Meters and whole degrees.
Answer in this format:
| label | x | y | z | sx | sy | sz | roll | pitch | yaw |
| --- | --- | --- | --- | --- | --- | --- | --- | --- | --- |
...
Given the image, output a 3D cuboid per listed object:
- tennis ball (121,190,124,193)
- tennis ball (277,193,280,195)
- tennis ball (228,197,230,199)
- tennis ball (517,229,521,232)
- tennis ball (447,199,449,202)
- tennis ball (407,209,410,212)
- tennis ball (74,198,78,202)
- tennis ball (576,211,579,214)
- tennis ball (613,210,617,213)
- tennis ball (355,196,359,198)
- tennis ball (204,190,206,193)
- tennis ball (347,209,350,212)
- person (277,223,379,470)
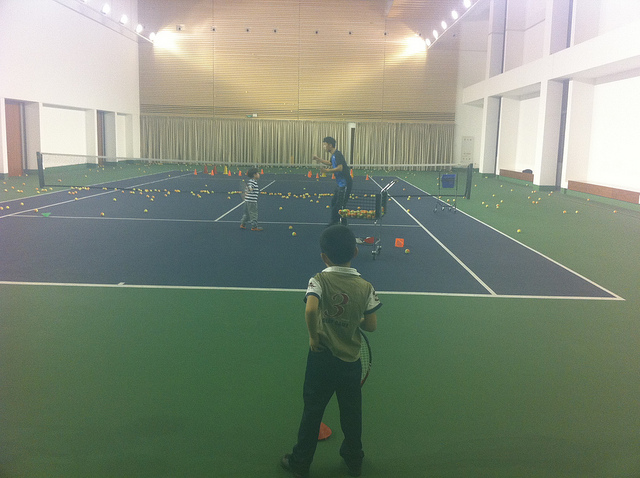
| label | x | y | z | sx | sy | sz | roll | pitch | yaw |
| --- | --- | --- | --- | --- | --- | --- | --- | --- | --- |
| tennis ball | -5.537 | -1.363 | 13.152 | 0.064 | 0.025 | 0.070 | 17 | 24 | -8 |
| tennis ball | -1.238 | -1.357 | 13.739 | 0.058 | 0.025 | 0.101 | 5 | 17 | 3 |
| tennis ball | -2.491 | -1.156 | 12.755 | 0.076 | 0.060 | 0.080 | 0 | -2 | 0 |
| tennis ball | 3.712 | -0.177 | 8.777 | 0.045 | 0.043 | 0.058 | 4 | 13 | 4 |
| tennis ball | 3.455 | -1.082 | 12.719 | 0.070 | 0.054 | 0.090 | -1 | 13 | -2 |
| tennis ball | 2.091 | -0.698 | 11.129 | 0.053 | 0.034 | 0.058 | -2 | 8 | -1 |
| tennis ball | -6.007 | -1.008 | 11.536 | 0.095 | 0.073 | 0.127 | -9 | 13 | -3 |
| tennis ball | 6.014 | -0.657 | 11.000 | 0.055 | 0.036 | 0.061 | -1 | 6 | 2 |
| tennis ball | 7.009 | -0.688 | 11.177 | 0.053 | 0.087 | 0.078 | 0 | 6 | -1 |
| tennis ball | 0.554 | -0.664 | 7.178 | 0.043 | 0.027 | 0.029 | 6 | 3 | 9 |
| tennis ball | -3.414 | -1.443 | 13.853 | 0.074 | 0.063 | 0.125 | 4 | 18 | -5 |
| tennis ball | 0.423 | -0.457 | 7.172 | 0.051 | 0.035 | 0.089 | 3 | 5 | 1 |
| person | 0.080 | 0.676 | 3.026 | 0.581 | 1.524 | 0.606 | 1 | 11 | 8 |
